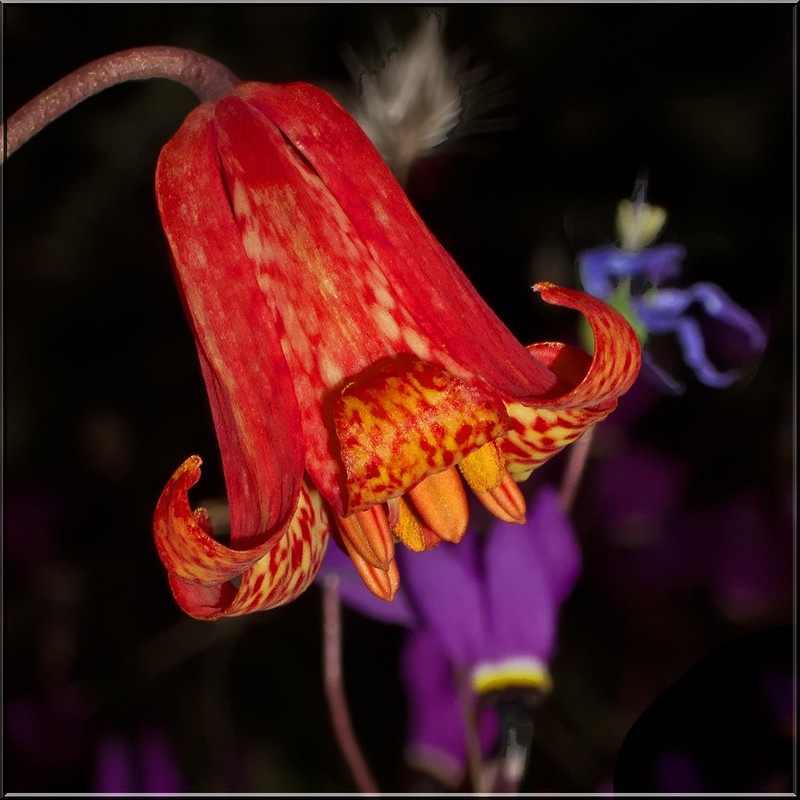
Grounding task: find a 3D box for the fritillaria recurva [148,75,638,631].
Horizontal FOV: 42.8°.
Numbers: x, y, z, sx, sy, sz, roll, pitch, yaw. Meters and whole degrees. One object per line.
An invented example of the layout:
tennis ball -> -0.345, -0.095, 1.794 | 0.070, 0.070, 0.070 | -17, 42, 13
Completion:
fritillaria recurva -> -0.026, -0.042, 0.674 | 0.340, 0.331, 0.182 | -26, 23, -19
